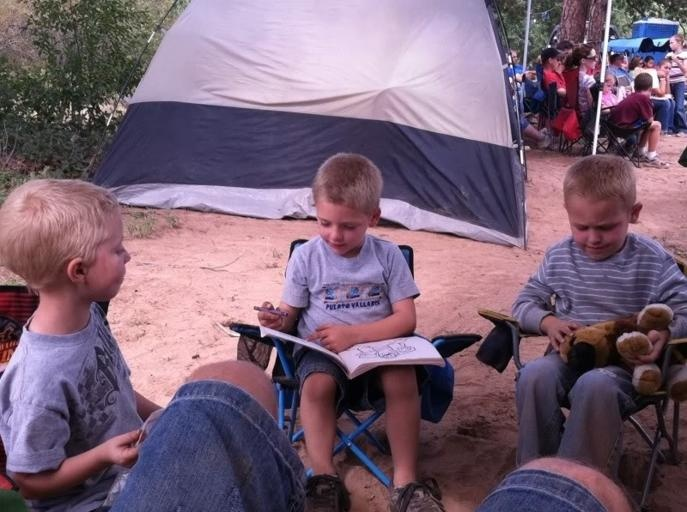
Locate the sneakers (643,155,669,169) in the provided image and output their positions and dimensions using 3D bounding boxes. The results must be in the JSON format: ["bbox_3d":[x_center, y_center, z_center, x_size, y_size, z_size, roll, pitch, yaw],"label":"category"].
[{"bbox_3d":[5.277,-1.604,9.861,0.475,0.230,0.185,7,22,24],"label":"sneakers"}]

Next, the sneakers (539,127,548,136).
[{"bbox_3d":[3.858,-2.395,11.113,0.148,0.079,0.208,-9,31,28],"label":"sneakers"}]

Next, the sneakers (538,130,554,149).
[{"bbox_3d":[3.856,-2.251,10.981,0.278,0.392,0.122,-12,7,22],"label":"sneakers"}]

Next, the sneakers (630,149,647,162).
[{"bbox_3d":[5.136,-1.748,10.030,0.114,0.270,0.361,-14,22,-11],"label":"sneakers"}]

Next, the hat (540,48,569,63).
[{"bbox_3d":[3.685,-3.481,10.042,0.405,0.166,0.272,-10,11,-2],"label":"hat"}]
